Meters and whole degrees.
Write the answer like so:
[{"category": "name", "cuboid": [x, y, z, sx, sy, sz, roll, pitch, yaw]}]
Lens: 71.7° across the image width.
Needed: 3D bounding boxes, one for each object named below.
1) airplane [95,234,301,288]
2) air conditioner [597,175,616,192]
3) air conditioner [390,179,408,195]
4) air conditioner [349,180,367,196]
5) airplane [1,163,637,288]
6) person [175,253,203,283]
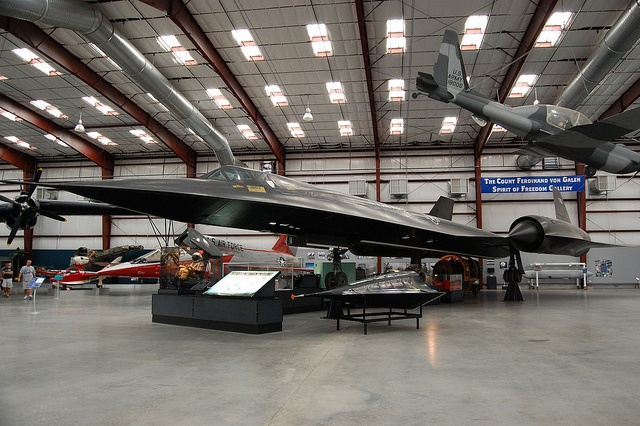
[{"category": "airplane", "cuboid": [-5.119, 2.373, 21.916, 6.022, 1.557, 4.838, 0, -4, -27]}, {"category": "air conditioner", "cuboid": [17.711, -1.823, 27.229, 1.226, 0.986, 0.381, 0, -2, 6]}, {"category": "air conditioner", "cuboid": [5.144, -1.671, 29.062, 1.160, 0.891, 1.035, 0, -7, -2]}, {"category": "air conditioner", "cuboid": [2.506, -1.591, 29.417, 1.194, 0.991, 1.142, -2, -3, 12]}, {"category": "airplane", "cuboid": [2.090, 0.597, 21.025, 19.810, 3.866, 7.503, 7, -7, -28]}, {"category": "person", "cuboid": [-4.552, 1.928, 15.562, 1.000, 0.453, 0.955, -14, -1, -35]}]
